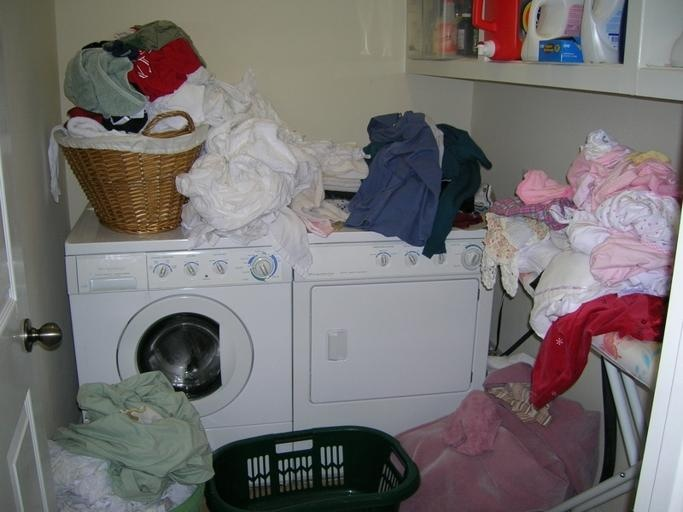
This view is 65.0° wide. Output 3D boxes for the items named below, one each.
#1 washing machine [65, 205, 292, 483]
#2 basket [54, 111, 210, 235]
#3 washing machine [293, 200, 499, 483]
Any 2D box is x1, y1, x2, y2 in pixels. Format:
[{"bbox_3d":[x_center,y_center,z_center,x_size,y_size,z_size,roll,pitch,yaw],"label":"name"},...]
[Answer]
[{"bbox_3d":[-0.672,0.298,2.426,0.845,1.237,0.693,-4,29,-16],"label":"washing machine"},{"bbox_3d":[-0.753,-0.280,2.021,0.441,0.377,0.469,21,26,41],"label":"basket"},{"bbox_3d":[0.262,0.245,2.547,0.821,1.272,0.682,-4,33,5],"label":"washing machine"}]
